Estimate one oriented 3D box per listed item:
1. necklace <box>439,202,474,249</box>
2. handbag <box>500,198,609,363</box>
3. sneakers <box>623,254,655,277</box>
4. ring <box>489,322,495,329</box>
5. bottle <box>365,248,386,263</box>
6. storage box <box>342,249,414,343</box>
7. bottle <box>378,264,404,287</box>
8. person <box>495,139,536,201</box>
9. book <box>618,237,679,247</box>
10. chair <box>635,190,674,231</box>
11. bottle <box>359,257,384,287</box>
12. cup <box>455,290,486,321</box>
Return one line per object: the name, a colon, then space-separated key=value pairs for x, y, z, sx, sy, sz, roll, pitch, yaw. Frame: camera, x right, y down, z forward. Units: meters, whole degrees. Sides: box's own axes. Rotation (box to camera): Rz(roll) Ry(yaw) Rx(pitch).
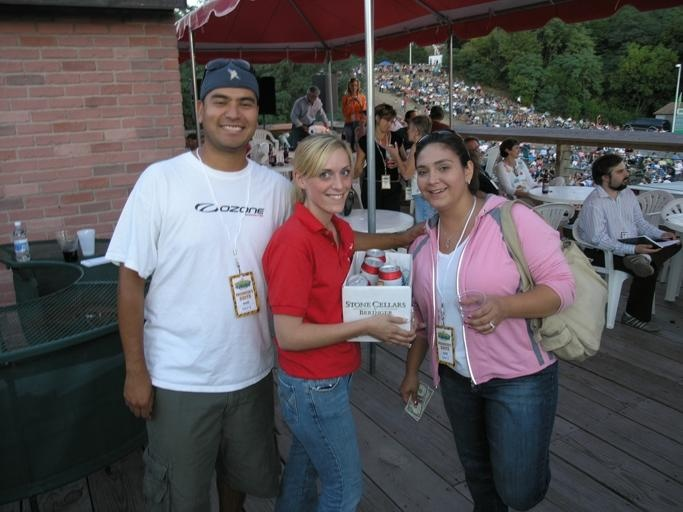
necklace: x=0.493 y=-0.136 z=2.020 sx=0.135 sy=0.201 sz=0.080 roll=13 pitch=11 yaw=31
handbag: x=0.951 y=0.065 z=2.081 sx=0.348 sy=0.688 sz=0.483 roll=-5 pitch=12 yaw=44
sneakers: x=2.528 y=0.089 z=4.071 sx=0.095 sy=0.150 sz=0.228 roll=-15 pitch=4 yaw=-11
ring: x=0.563 y=0.263 z=1.772 sx=0.020 sy=0.021 sz=0.037 roll=-1 pitch=-3 yaw=-5
bottle: x=0.138 y=-0.002 z=1.872 sx=0.053 sy=0.043 sz=0.055 roll=1 pitch=6 yaw=0
storage box: x=0.150 y=0.162 z=1.897 sx=0.258 sy=0.291 sz=0.400 roll=0 pitch=14 yaw=8
bottle: x=0.185 y=0.077 z=1.780 sx=0.073 sy=0.070 sz=0.077 roll=-3 pitch=11 yaw=3
person: x=2.521 y=-1.210 z=6.765 sx=0.526 sy=0.845 sz=0.569 roll=-11 pitch=14 yaw=-26
book: x=2.704 y=-0.114 z=4.195 sx=0.524 sy=0.053 sz=0.693 roll=3 pitch=0 yaw=-44
chair: x=3.386 y=-0.487 z=5.126 sx=0.293 sy=0.385 sz=0.328 roll=-18 pitch=34 yaw=-20
bottle: x=0.121 y=0.084 z=1.904 sx=0.088 sy=0.138 sz=0.090 roll=-1 pitch=-23 yaw=0
cup: x=0.482 y=0.180 z=1.769 sx=0.097 sy=0.091 sz=0.082 roll=7 pitch=32 yaw=33
